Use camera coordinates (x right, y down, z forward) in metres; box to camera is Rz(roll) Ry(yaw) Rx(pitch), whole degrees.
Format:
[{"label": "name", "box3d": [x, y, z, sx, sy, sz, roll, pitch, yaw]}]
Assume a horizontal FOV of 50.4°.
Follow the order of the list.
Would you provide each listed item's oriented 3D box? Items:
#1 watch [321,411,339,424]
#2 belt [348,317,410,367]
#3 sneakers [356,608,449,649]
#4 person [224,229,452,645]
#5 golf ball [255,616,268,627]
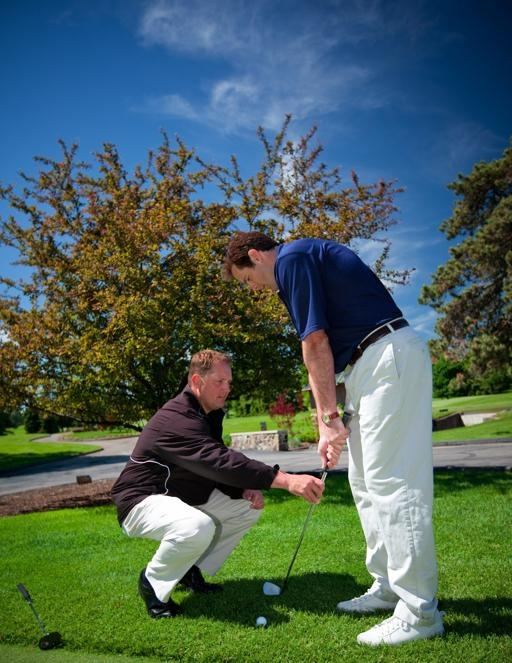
[{"label": "watch", "box3d": [0.368, 0.419, 2.623, 0.086, 0.049, 0.085, -20, -19, 25]}, {"label": "belt", "box3d": [0.555, 0.034, 2.561, 0.229, 0.053, 0.228, -15, -28, -48]}, {"label": "sneakers", "box3d": [0.636, 1.319, 2.385, 0.414, 0.130, 0.168, -1, -6, 1]}, {"label": "person", "box3d": [-0.248, 0.899, 3.282, 1.096, 1.406, 1.162, 5, -11, -27]}, {"label": "golf ball", "box3d": [0.028, 1.423, 2.674, 0.042, 0.028, 0.039, 6, -6, 1]}]
